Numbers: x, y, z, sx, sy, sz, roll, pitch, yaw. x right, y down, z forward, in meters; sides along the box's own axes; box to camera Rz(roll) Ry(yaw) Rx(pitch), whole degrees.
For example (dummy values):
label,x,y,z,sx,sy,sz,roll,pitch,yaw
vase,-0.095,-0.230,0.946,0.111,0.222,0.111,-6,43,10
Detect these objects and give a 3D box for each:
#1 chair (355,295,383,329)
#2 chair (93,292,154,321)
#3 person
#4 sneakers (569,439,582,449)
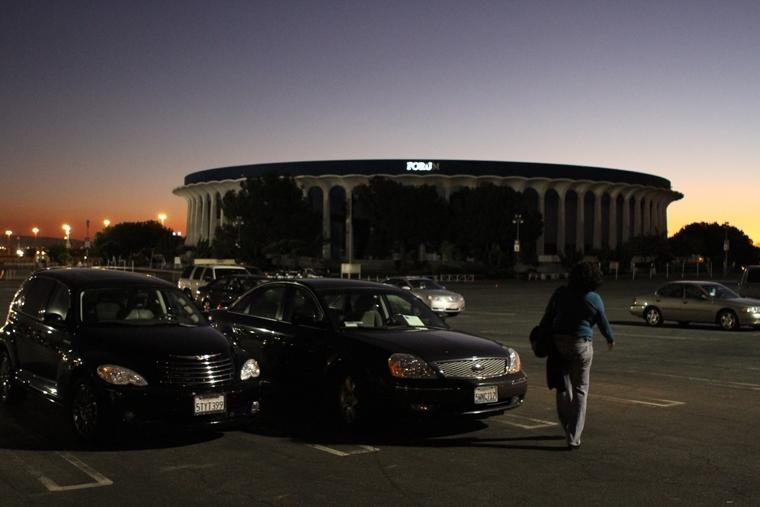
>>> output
label,x,y,z,sx,sy,sz,roll,pitch,yaw
chair,-0.135,0.967,10.676,0.350,0.481,0.457,2,-5,-14
chair,-4.185,0.885,10.406,0.568,0.580,0.581,-5,-6,38
person,2.913,1.449,9.658,1.099,2.766,1.364,-1,0,20
sneakers,2.758,2.707,9.070,0.121,0.116,0.120,0,1,-13
